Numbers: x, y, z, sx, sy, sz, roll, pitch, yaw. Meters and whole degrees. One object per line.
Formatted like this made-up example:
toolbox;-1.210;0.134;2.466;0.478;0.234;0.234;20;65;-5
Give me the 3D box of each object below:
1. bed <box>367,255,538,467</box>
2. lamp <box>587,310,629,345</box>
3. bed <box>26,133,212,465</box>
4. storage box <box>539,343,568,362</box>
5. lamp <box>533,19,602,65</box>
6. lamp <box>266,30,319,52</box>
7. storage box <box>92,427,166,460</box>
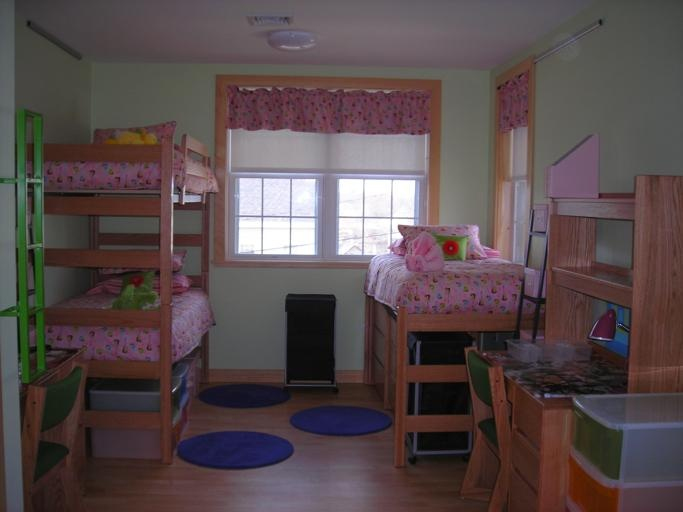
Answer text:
bed;0.851;0.563;4.693;1.203;1.148;1.900;0;10;-6
lamp;1.329;0.342;2.762;0.308;0.157;0.116;15;-2;-33
bed;-1.358;0.251;4.579;1.975;1.676;1.950;0;1;-6
storage box;1.164;0.521;3.073;0.095;0.059;0.095;0;4;-1
lamp;1.578;-1.492;3.983;0.075;0.076;0.577;-41;11;-29
lamp;-0.356;-1.667;4.381;0.397;0.092;0.333;9;12;43
storage box;-1.416;1.241;3.862;0.347;0.145;0.241;0;-3;-5
